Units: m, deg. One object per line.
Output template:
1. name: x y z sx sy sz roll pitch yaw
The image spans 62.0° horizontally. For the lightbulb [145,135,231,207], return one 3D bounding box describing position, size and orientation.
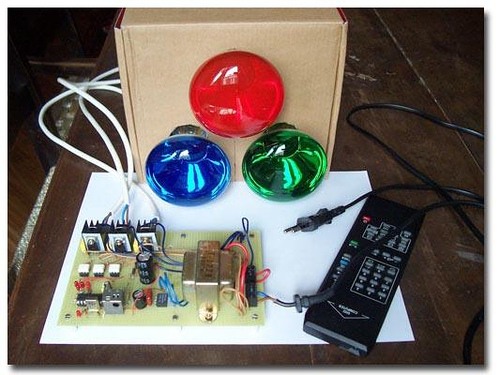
1. lightbulb: -0.134 -0.020 0.881 0.196 0.202 0.134 5 79 -18
